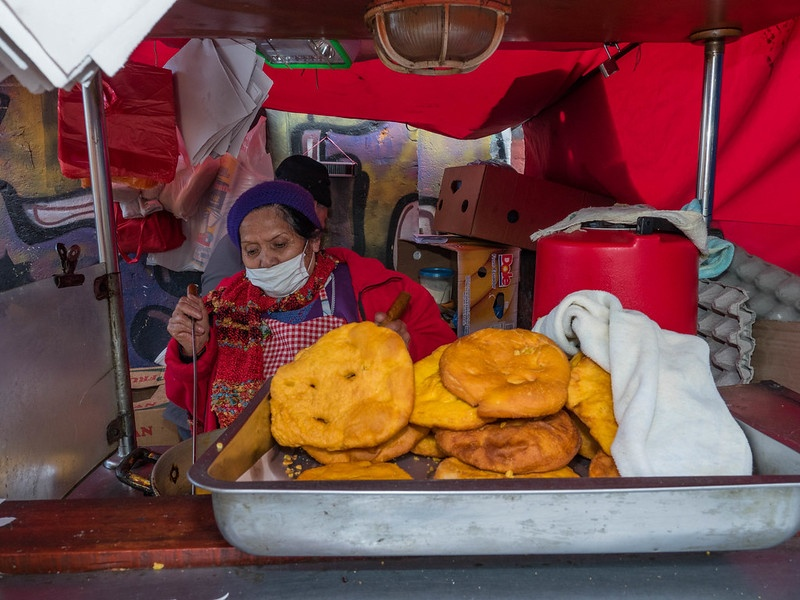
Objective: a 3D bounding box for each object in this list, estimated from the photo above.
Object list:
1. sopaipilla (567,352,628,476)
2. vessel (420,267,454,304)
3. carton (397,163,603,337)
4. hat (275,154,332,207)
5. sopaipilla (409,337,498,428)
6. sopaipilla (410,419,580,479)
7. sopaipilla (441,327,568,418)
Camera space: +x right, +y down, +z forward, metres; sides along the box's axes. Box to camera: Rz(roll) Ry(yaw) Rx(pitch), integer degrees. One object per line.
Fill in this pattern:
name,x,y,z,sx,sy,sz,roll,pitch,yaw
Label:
sopaipilla,0.423,0.252,1.515,0.155,0.199,0.060,3,-12,-34
vessel,0.216,-0.092,4.138,0.209,0.199,0.207,1,11,3
carton,0.549,-0.322,4.231,1.050,0.670,1.049,4,19,8
hat,-0.480,-0.643,3.742,0.275,0.284,0.366,9,11,2
sopaipilla,0.097,0.176,1.546,0.181,0.052,0.175,10,22,10
sopaipilla,0.234,0.310,1.475,0.181,0.049,0.153,2,2,28
sopaipilla,0.241,0.152,1.537,0.284,0.067,0.288,1,33,-1
